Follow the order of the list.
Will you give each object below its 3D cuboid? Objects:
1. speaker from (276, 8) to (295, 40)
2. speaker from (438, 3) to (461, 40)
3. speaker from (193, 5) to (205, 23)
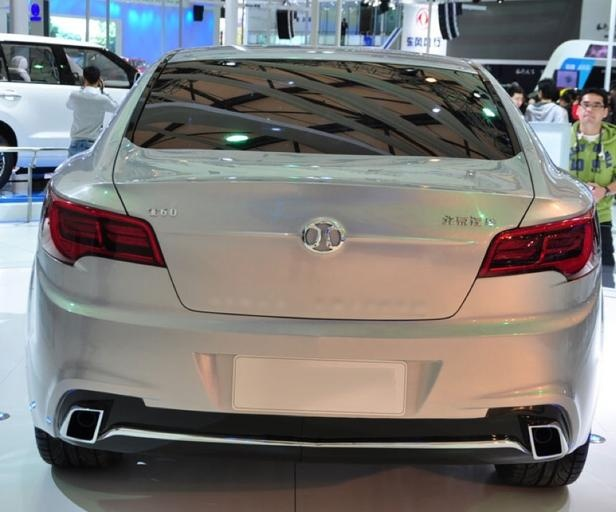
[{"bbox_3d":[-0.905,-9.243,21.055,0.641,0.990,1.570,3,11,-1],"label":"speaker"},{"bbox_3d":[5.564,-9.254,21.042,0.865,1.366,2.275,6,11,16],"label":"speaker"},{"bbox_3d":[-4.940,-10.950,23.971,0.492,0.692,0.309,0,13,-14],"label":"speaker"}]
